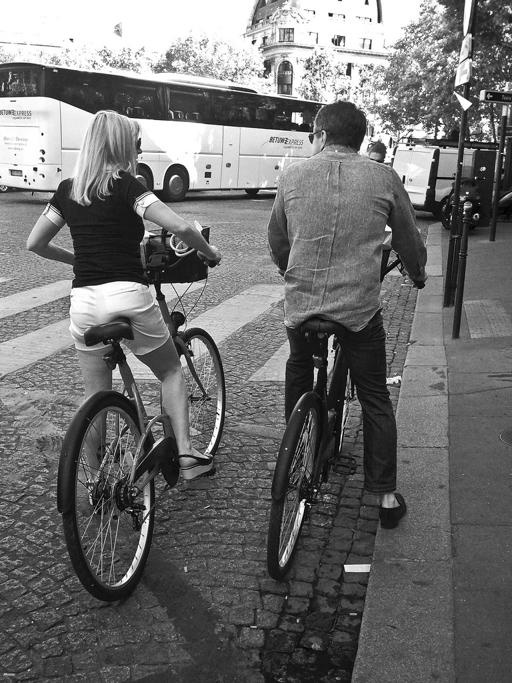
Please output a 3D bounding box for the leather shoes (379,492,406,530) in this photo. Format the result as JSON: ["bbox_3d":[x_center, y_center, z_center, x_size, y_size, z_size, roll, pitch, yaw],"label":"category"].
[{"bbox_3d":[0.597,0.728,2.675,0.065,0.079,0.192,-1,17,13],"label":"leather shoes"}]

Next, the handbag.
[{"bbox_3d":[-0.366,-0.378,2.698,0.257,0.253,0.226,-6,26,-8],"label":"handbag"}]

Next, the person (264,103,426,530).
[{"bbox_3d":[0.363,-0.131,2.423,0.625,1.578,0.366,0,11,0],"label":"person"}]
